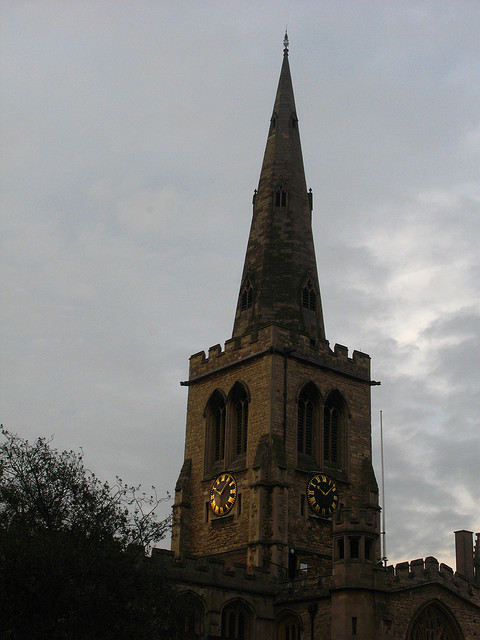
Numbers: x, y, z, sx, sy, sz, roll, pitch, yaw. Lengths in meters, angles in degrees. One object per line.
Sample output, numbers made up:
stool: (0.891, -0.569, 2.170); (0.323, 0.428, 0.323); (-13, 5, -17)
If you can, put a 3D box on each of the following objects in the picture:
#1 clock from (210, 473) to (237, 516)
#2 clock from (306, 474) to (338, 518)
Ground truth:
clock: (-0.771, 7.797, 51.449); (0.090, 1.949, 1.854); (7, 5, 39)
clock: (3.724, 7.770, 50.688); (1.787, 2.012, 0.497); (22, -30, -39)
